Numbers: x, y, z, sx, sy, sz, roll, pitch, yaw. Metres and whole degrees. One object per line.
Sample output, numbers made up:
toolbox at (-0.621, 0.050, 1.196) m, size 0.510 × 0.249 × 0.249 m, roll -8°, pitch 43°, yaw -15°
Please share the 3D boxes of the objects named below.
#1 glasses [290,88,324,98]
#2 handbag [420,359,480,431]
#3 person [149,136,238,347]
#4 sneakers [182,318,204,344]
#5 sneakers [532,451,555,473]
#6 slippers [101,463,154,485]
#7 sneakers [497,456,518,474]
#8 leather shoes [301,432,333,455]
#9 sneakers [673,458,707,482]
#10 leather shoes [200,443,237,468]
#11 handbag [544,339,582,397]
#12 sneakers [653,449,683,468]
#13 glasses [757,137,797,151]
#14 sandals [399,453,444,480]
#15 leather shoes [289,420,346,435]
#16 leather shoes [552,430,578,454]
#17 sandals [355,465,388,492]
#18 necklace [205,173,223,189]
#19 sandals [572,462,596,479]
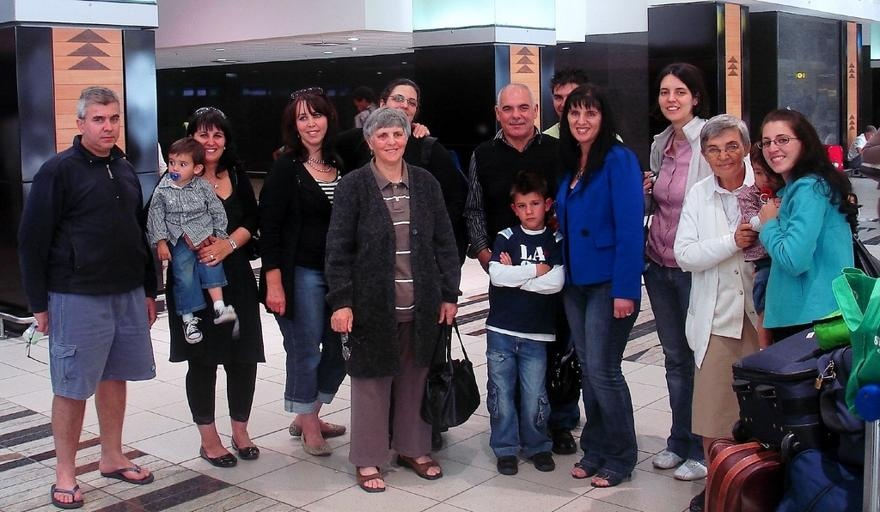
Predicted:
glasses at (-1.002, -1.231, 4.668) m, size 0.229 × 0.082 × 0.376 m, roll -4°, pitch 14°, yaw -11°
handbag at (0.084, 0.978, 4.344) m, size 0.407 × 0.450 × 0.212 m, roll -3°, pitch 16°, yaw -7°
person at (-1.805, -0.102, 4.438) m, size 0.519 × 1.429 × 0.402 m, roll -8°, pitch 17°, yaw -22°
sneakers at (-1.791, 0.543, 4.440) m, size 0.113 × 0.080 × 0.231 m, roll -17°, pitch 20°, yaw -25°
sneakers at (0.756, 1.498, 4.511) m, size 0.180 × 0.102 × 0.140 m, roll 2°, pitch 15°, yaw 13°
slippers at (-2.249, 1.561, 4.439) m, size 0.328 × 0.072 × 0.148 m, roll 0°, pitch 4°, yaw 11°
sneakers at (0.495, 1.516, 4.472) m, size 0.145 × 0.101 × 0.128 m, roll 0°, pitch 15°, yaw 3°
leather shoes at (-0.969, 1.463, 4.780) m, size 0.260 × 0.130 × 0.152 m, roll 0°, pitch 15°, yaw 4°
sneakers at (1.772, 1.508, 4.320) m, size 0.227 × 0.072 × 0.109 m, roll 5°, pitch 37°, yaw 10°
leather shoes at (-1.692, 1.515, 4.674) m, size 0.319 × 0.076 × 0.120 m, roll -1°, pitch 0°, yaw 38°
handbag at (0.958, 0.899, 4.713) m, size 0.256 × 0.453 × 0.159 m, roll 1°, pitch 16°, yaw 7°
sneakers at (1.691, 1.490, 4.512) m, size 0.204 × 0.069 × 0.106 m, roll 9°, pitch -5°, yaw -44°
glasses at (1.942, -0.651, 3.518) m, size 0.173 × 0.082 × 0.071 m, roll 9°, pitch 18°, yaw 34°
sandals at (-0.137, 1.542, 4.531) m, size 0.348 × 0.079 × 0.141 m, roll 1°, pitch 9°, yaw 44°
leather shoes at (-1.009, 1.424, 5.054) m, size 0.441 × 0.111 × 0.157 m, roll -4°, pitch -4°, yaw 21°
leather shoes at (0.963, 1.428, 4.727) m, size 0.186 × 0.123 × 0.165 m, roll 1°, pitch 15°, yaw 9°
sandals at (-0.485, 1.561, 4.330) m, size 0.200 × 0.139 × 0.153 m, roll -3°, pitch 15°, yaw -8°
necklace at (-1.700, -0.558, 4.605) m, size 0.115 × 0.035 × 0.084 m, roll 30°, pitch 11°, yaw 23°
sandals at (1.025, 1.529, 4.385) m, size 0.178 × 0.053 × 0.079 m, roll 3°, pitch 35°, yaw 1°
